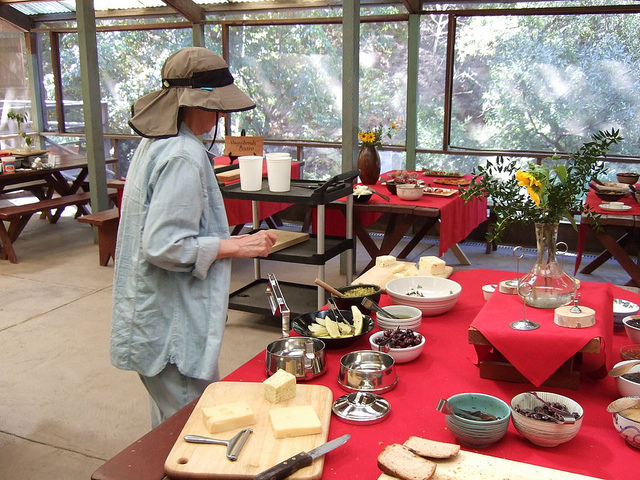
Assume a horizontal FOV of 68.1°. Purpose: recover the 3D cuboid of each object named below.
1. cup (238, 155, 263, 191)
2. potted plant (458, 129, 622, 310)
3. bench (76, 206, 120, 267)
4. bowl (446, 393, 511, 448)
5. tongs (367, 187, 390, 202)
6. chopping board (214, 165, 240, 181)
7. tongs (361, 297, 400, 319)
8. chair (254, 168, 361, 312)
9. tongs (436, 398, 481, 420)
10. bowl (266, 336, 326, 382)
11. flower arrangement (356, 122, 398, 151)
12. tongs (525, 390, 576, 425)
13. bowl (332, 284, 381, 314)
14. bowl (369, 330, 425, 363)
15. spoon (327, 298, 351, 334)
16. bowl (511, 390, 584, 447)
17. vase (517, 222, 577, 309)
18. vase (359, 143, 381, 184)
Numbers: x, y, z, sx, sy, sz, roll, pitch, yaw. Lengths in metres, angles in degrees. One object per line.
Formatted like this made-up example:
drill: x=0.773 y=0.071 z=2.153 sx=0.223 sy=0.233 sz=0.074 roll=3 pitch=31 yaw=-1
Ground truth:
cup: x=-0.477 y=-0.505 z=3.557 sx=0.230 sy=0.238 sz=0.229 roll=2 pitch=17 yaw=-1
potted plant: x=0.892 y=-0.091 z=1.889 sx=0.614 sy=0.650 sz=0.333 roll=-2 pitch=2 yaw=27
bench: x=-2.728 y=-0.016 z=5.854 sx=0.219 sy=0.292 sz=0.824 roll=4 pitch=15 yaw=10
bowl: x=0.496 y=0.564 z=1.465 sx=0.177 sy=0.100 sz=0.174 roll=-7 pitch=11 yaw=1
tongs: x=0.625 y=-0.476 z=5.034 sx=0.290 sy=0.068 sz=0.043 roll=31 pitch=60 yaw=8
chopping board: x=-0.878 y=-0.628 z=4.557 sx=0.205 sy=0.124 sz=0.262 roll=-2 pitch=12 yaw=-11
tongs: x=0.263 y=0.304 z=2.093 sx=0.025 sy=0.052 sz=0.211 roll=14 pitch=11 yaw=-38
chair: x=-0.097 y=-0.020 z=4.305 sx=0.914 sy=1.212 sz=0.712 roll=8 pitch=18 yaw=19
tongs: x=0.433 y=0.536 z=1.475 sx=0.133 sy=0.043 sz=0.106 roll=4 pitch=12 yaw=16
bowl: x=-0.088 y=0.442 z=1.797 sx=0.139 sy=0.100 sz=0.182 roll=-8 pitch=16 yaw=-32
flower arrangement: x=0.621 y=-1.144 z=5.261 sx=0.348 sy=0.270 sz=0.350 roll=10 pitch=13 yaw=44
tongs: x=0.688 y=0.522 z=1.442 sx=0.088 sy=0.048 sz=0.162 roll=-8 pitch=14 yaw=-35
bowl: x=0.185 y=0.280 z=2.270 sx=0.156 sy=0.069 sz=0.155 roll=-2 pitch=8 yaw=0
bowl: x=0.307 y=0.402 z=1.848 sx=0.157 sy=0.067 sz=0.125 roll=-12 pitch=18 yaw=-35
spoon: x=0.091 y=0.345 z=2.052 sx=0.063 sy=0.023 sz=0.107 roll=-25 pitch=54 yaw=3
bowl: x=0.689 y=0.548 z=1.430 sx=0.189 sy=0.123 sz=0.223 roll=-7 pitch=6 yaw=6
vase: x=0.903 y=0.097 z=1.895 sx=0.266 sy=0.379 sz=0.268 roll=-5 pitch=11 yaw=-1
vase: x=0.573 y=-0.873 z=5.485 sx=0.271 sy=0.463 sz=0.276 roll=-8 pitch=19 yaw=-19
